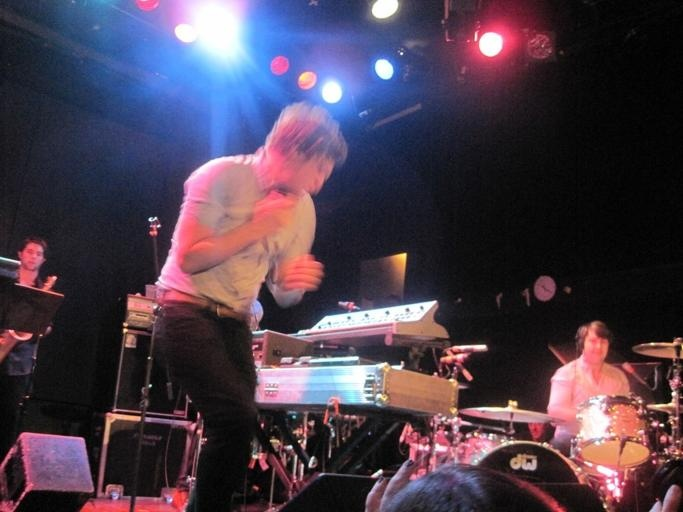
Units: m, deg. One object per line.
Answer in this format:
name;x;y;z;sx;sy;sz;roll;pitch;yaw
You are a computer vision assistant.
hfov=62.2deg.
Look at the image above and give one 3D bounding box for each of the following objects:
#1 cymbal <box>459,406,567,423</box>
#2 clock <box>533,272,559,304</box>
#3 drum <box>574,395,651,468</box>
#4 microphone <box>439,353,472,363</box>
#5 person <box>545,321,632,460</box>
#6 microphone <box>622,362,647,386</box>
cymbal;1.617;1.504;5.370;0.859;0.146;0.601;-8;-17;43
clock;2.500;0.403;6.955;0.077;0.320;0.302;13;-15;-37
drum;2.385;1.507;4.888;0.542;0.395;0.577;13;-24;6
microphone;0.977;0.884;4.913;0.224;0.094;0.308;2;-12;9
person;2.470;1.529;5.673;0.844;1.674;1.053;2;-3;25
microphone;3.272;1.337;6.334;0.297;0.069;0.073;35;27;9
